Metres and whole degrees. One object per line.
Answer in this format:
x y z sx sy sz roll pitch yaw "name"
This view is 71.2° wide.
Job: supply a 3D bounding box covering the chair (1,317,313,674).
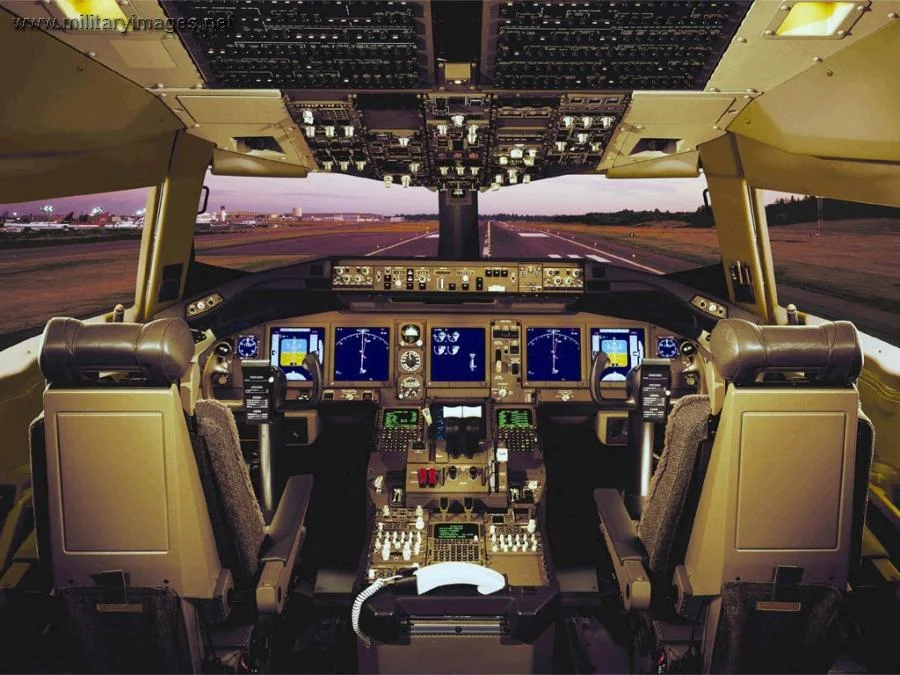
-1.161 0.727 2.669 0.994 1.622 0.419 -2 6 -29 "chair"
